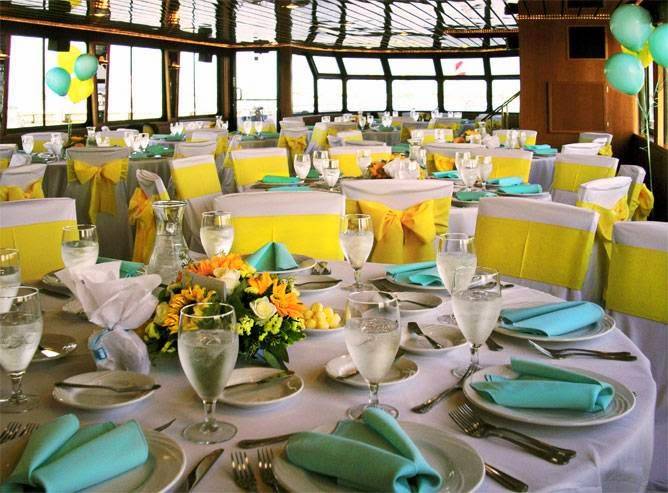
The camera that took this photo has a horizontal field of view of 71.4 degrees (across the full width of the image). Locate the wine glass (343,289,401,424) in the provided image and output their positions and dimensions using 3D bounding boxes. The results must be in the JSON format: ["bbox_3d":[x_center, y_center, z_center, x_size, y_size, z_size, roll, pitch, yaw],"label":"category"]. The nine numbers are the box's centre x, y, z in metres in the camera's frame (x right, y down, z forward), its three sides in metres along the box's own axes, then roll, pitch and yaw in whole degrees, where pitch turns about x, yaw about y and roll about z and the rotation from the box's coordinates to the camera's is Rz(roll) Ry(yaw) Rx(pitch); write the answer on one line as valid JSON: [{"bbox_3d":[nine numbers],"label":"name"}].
[{"bbox_3d":[0.067,0.177,0.895,0.106,0.171,0.085,8,15,40],"label":"wine glass"}]

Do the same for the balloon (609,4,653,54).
[{"bbox_3d":[3.499,-2.604,5.452,0.452,0.513,0.299,-5,12,-15],"label":"balloon"}]

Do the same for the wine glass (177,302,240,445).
[{"bbox_3d":[-0.254,0.234,0.912,0.110,0.263,0.198,-9,14,-30],"label":"wine glass"}]

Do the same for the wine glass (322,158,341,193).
[{"bbox_3d":[-0.030,-0.556,3.559,0.127,0.237,0.388,-2,12,-1],"label":"wine glass"}]

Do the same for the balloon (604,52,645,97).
[{"bbox_3d":[3.505,-2.115,5.592,0.401,0.488,0.283,3,13,24],"label":"balloon"}]

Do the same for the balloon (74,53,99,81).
[{"bbox_3d":[-4.647,-3.391,8.665,0.385,0.485,0.351,-9,13,-29],"label":"balloon"}]

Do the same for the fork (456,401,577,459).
[{"bbox_3d":[0.328,0.356,0.892,0.241,0.038,0.065,14,21,43],"label":"fork"}]

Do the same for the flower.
[{"bbox_3d":[-0.255,0.217,1.219,0.302,0.269,0.315,21,6,18],"label":"flower"}]

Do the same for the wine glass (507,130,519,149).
[{"bbox_3d":[2.212,-1.340,5.706,0.113,0.212,0.432,3,13,20],"label":"wine glass"}]

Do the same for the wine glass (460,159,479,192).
[{"bbox_3d":[0.976,-0.533,3.364,0.137,0.226,0.274,2,12,17],"label":"wine glass"}]

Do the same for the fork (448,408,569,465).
[{"bbox_3d":[0.322,0.354,0.899,0.234,0.037,0.063,16,17,42],"label":"fork"}]

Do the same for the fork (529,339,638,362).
[{"bbox_3d":[0.650,0.274,1.222,0.214,0.036,0.037,1,8,10],"label":"fork"}]

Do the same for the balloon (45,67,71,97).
[{"bbox_3d":[-5.024,-3.052,8.440,0.390,0.496,0.297,-9,14,-31],"label":"balloon"}]

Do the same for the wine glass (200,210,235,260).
[{"bbox_3d":[-0.410,-0.033,1.625,0.107,0.177,0.259,-5,12,-14],"label":"wine glass"}]
